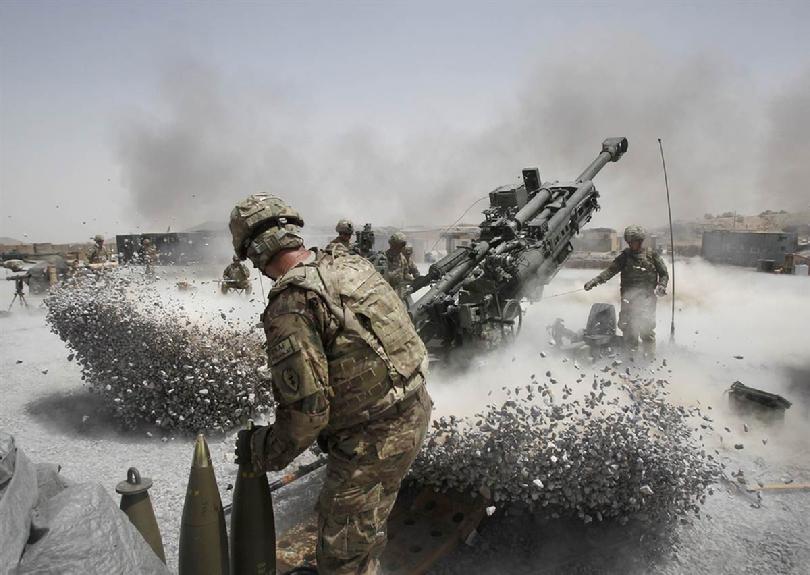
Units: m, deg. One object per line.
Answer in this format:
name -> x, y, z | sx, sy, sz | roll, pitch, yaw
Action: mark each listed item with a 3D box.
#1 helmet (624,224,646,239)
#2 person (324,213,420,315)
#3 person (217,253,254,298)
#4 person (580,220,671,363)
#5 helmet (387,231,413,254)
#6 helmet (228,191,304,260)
helmet -> 3.529, -0.861, 8.618 | 0.262, 0.235, 0.371 | 11, 18, 36
person -> -0.406, -0.595, 9.963 | 1.082, 0.914, 1.646 | 18, 15, 41
person -> -4.169, -0.310, 13.750 | 0.735, 1.131, 0.604 | 1, 6, -18
person -> 3.470, 0.201, 8.743 | 1.168, 2.281, 0.908 | 0, 15, 27
helmet -> -0.088, -0.889, 10.606 | 0.312, 0.406, 0.397 | 16, 29, 21
helmet -> -0.928, -0.381, 3.690 | 0.402, 0.465, 0.471 | -23, 19, -20
